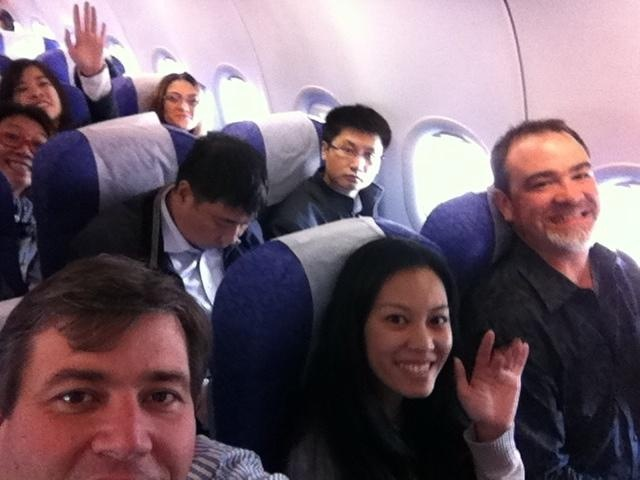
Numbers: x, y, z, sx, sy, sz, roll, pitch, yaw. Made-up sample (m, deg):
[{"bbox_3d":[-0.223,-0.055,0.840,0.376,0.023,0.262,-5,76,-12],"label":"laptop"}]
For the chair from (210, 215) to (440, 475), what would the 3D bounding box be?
[{"bbox_3d":[-0.051,0.330,1.790,0.528,0.738,0.552,17,-11,-23],"label":"chair"}]
